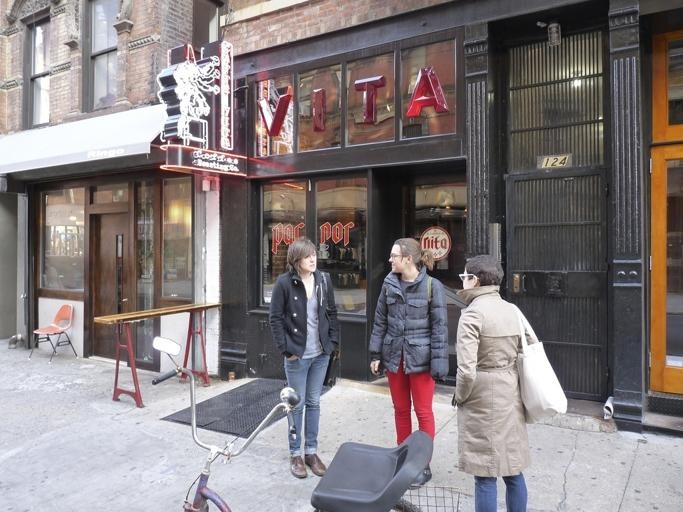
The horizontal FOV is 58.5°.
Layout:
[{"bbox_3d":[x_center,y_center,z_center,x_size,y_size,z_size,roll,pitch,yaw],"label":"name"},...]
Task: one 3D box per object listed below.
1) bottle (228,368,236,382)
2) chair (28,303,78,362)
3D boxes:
[{"bbox_3d":[-1.699,1.866,9.539,0.111,0.146,0.121,1,-9,0],"label":"bottle"},{"bbox_3d":[-5.240,1.376,11.192,0.673,0.948,0.619,2,1,37],"label":"chair"}]
